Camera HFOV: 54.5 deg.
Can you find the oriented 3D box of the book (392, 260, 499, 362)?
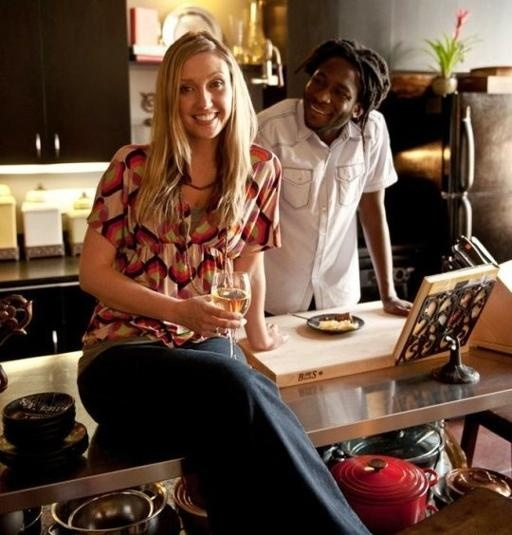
[{"bbox_3d":[0.537,0.131,1.402,0.306,0.268,0.046,-12,42,-28],"label":"book"}]

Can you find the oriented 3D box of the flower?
[{"bbox_3d":[1.216,-1.414,3.130,0.286,0.454,0.406,4,14,22],"label":"flower"}]

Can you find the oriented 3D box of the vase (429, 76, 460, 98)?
[{"bbox_3d":[1.154,-1.120,3.051,0.165,0.110,0.151,-9,24,-18],"label":"vase"}]

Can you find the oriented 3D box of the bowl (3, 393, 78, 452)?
[{"bbox_3d":[-0.418,0.294,0.959,0.094,0.046,0.095,-1,5,0],"label":"bowl"}]

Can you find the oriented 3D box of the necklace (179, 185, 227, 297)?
[{"bbox_3d":[-0.132,-0.066,1.190,0.141,0.228,0.057,0,5,0],"label":"necklace"}]
